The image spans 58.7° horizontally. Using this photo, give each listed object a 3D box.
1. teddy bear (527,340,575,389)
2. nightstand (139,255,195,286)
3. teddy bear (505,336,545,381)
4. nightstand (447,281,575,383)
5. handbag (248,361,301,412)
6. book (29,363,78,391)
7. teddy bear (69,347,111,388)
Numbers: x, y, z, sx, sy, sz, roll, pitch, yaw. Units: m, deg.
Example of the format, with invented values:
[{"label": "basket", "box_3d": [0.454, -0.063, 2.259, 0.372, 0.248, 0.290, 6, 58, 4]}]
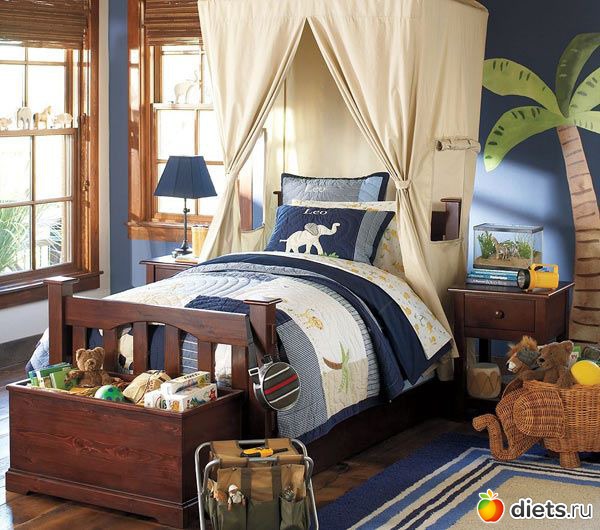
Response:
[{"label": "teddy bear", "box_3d": [1.051, 0.416, 2.186, 0.163, 0.223, 0.183, -1, -15, 36]}, {"label": "nightstand", "box_3d": [-0.847, 0.003, 3.490, 0.206, 0.264, 0.259, 3, 8, 20]}, {"label": "teddy bear", "box_3d": [0.968, 0.404, 2.286, 0.076, 0.184, 0.154, 13, -20, -38]}, {"label": "nightstand", "box_3d": [1.132, 0.448, 2.887, 0.503, 0.681, 0.451, 2, 5, 36]}, {"label": "handbag", "box_3d": [-0.082, 0.387, 1.717, 0.163, 0.155, 0.130, 0, -2, -1]}, {"label": "book", "box_3d": [-0.903, 0.387, 1.922, 0.124, 0.046, 0.095, -3, 5, -39]}, {"label": "teddy bear", "box_3d": [-0.771, 0.380, 1.944, 0.129, 0.168, 0.098, 7, -20, -34]}]
